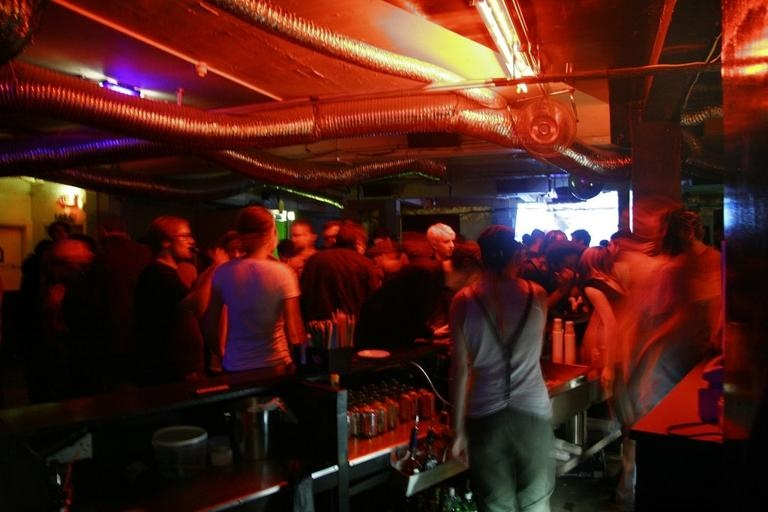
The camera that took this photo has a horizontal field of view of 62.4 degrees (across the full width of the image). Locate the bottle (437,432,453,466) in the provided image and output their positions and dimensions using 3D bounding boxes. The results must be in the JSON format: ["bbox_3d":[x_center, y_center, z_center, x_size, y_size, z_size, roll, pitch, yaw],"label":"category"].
[{"bbox_3d":[0.381,1.223,4.044,0.087,0.160,0.148,-1,2,6],"label":"bottle"}]

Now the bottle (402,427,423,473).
[{"bbox_3d":[0.166,1.207,3.954,0.119,0.255,0.118,-2,1,0],"label":"bottle"}]

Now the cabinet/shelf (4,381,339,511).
[{"bbox_3d":[-1.150,1.145,3.603,1.857,0.590,0.626,-3,2,-22],"label":"cabinet/shelf"}]
